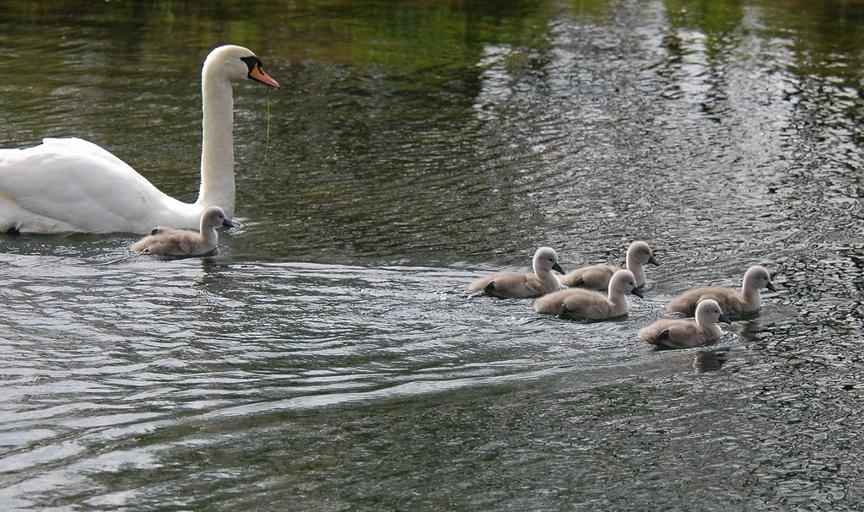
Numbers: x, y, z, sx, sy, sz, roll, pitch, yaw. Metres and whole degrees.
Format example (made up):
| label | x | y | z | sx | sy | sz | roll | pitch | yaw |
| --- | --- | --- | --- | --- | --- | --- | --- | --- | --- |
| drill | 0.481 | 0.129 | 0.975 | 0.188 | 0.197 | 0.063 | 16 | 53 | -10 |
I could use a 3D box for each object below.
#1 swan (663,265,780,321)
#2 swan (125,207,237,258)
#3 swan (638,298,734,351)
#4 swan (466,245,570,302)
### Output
| label | x | y | z | sx | sy | sz | roll | pitch | yaw |
| --- | --- | --- | --- | --- | --- | --- | --- | --- | --- |
| swan | 4.457 | 0.514 | 14.429 | 1.623 | 0.735 | 1.720 | 1 | 1 | 2 |
| swan | -4.001 | -0.386 | 15.213 | 1.484 | 0.758 | 0.559 | -1 | 16 | -18 |
| swan | 3.507 | 0.905 | 13.337 | 1.061 | 0.643 | 0.617 | -5 | 16 | -32 |
| swan | 1.341 | 0.266 | 14.415 | 2.079 | 0.719 | 0.542 | 0 | 28 | -18 |
